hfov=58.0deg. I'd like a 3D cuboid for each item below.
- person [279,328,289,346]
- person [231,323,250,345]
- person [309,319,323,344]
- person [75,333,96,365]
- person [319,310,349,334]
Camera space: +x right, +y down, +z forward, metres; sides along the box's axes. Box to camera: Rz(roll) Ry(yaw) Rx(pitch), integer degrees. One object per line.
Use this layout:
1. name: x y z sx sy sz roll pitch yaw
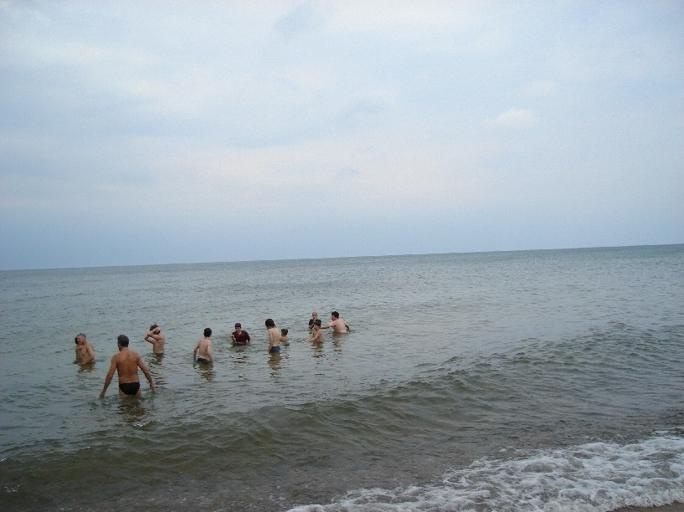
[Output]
1. person: -2.833 3.954 30.402 0.367 0.745 0.713 -3 2 -6
2. person: -5.024 3.792 30.510 0.866 1.066 1.452 -3 2 -8
3. person: -1.230 3.834 31.322 1.157 1.246 0.903 0 -5 6
4. person: -11.885 4.349 28.506 0.974 1.229 0.746 -21 -17 8
5. person: -0.201 3.447 33.148 1.394 1.517 1.166 9 23 34
